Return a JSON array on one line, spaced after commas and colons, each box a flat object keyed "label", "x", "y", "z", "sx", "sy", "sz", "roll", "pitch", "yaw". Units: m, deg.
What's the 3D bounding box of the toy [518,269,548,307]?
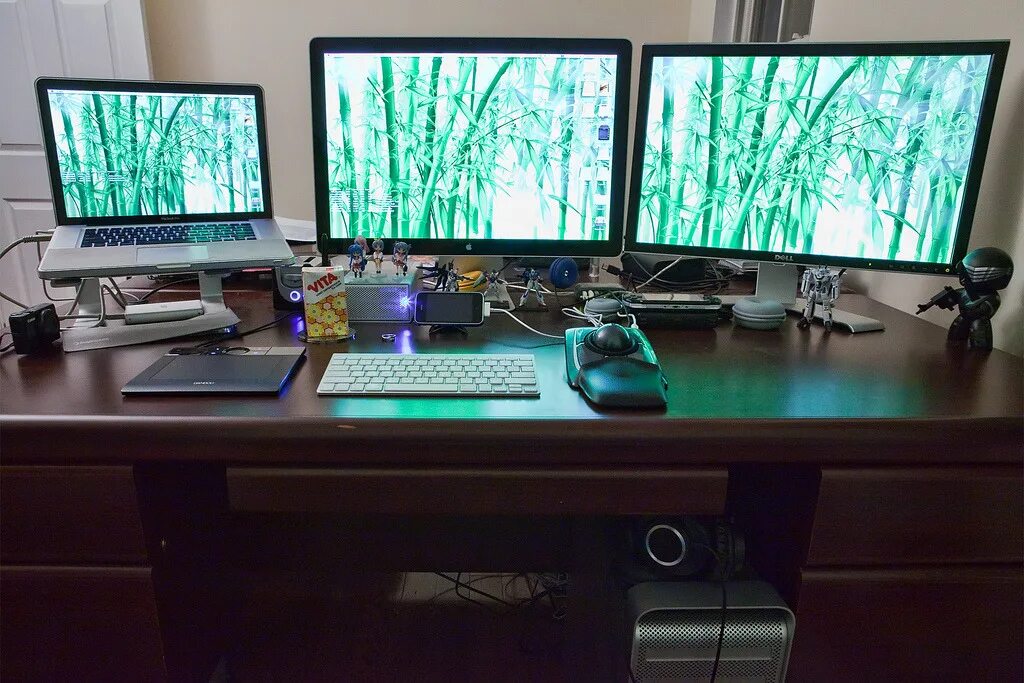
[{"label": "toy", "x": 0.061, "y": -0.150, "z": 2.183, "sx": 0.107, "sy": 0.118, "sz": 0.099, "roll": -1, "pitch": 23, "yaw": -2}]

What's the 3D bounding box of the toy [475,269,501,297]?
[{"label": "toy", "x": -0.061, "y": -0.166, "z": 2.222, "sx": 0.079, "sy": 0.067, "sz": 0.028, "roll": 4, "pitch": -1, "yaw": -3}]

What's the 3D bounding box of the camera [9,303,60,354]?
[{"label": "camera", "x": -1.076, "y": -0.023, "z": 1.753, "sx": 0.056, "sy": 0.093, "sz": 0.105, "roll": 4, "pitch": 13, "yaw": -5}]

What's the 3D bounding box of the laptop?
[{"label": "laptop", "x": -0.870, "y": -0.430, "z": 1.915, "sx": 0.583, "sy": 0.525, "sz": 0.206, "roll": -2, "pitch": 17, "yaw": -17}]

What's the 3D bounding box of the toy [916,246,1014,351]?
[{"label": "toy", "x": 1.089, "y": -0.109, "z": 1.815, "sx": 0.264, "sy": 0.292, "sz": 0.158, "roll": 5, "pitch": 25, "yaw": 36}]

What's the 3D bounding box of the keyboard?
[{"label": "keyboard", "x": -0.173, "y": 0.072, "z": 1.680, "sx": 0.464, "sy": 0.023, "sz": 0.178, "roll": 1, "pitch": 28, "yaw": 0}]

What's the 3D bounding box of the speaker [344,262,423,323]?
[{"label": "speaker", "x": -0.335, "y": -0.119, "z": 1.971, "sx": 0.145, "sy": 0.085, "sz": 0.142, "roll": 0, "pitch": 21, "yaw": -1}]

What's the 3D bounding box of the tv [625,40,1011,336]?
[{"label": "tv", "x": 0.754, "y": -0.464, "z": 1.895, "sx": 0.931, "sy": 0.709, "sz": 0.168, "roll": 6, "pitch": 20, "yaw": 15}]

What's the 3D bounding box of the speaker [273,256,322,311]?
[{"label": "speaker", "x": -0.579, "y": -0.147, "z": 2.108, "sx": 0.126, "sy": 0.153, "sz": 0.222, "roll": -1, "pitch": 23, "yaw": -5}]

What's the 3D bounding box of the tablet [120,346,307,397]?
[{"label": "tablet", "x": -0.632, "y": 0.059, "z": 1.688, "sx": 0.328, "sy": 0.024, "sz": 0.230, "roll": 1, "pitch": 21, "yaw": 4}]

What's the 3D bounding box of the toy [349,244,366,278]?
[{"label": "toy", "x": -0.395, "y": -0.205, "z": 1.992, "sx": 0.033, "sy": 0.057, "sz": 0.090, "roll": 1, "pitch": 25, "yaw": -15}]

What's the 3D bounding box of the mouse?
[{"label": "mouse", "x": 0.228, "y": 0.029, "z": 1.698, "sx": 0.209, "sy": 0.095, "sz": 0.337, "roll": -3, "pitch": 23, "yaw": -6}]
